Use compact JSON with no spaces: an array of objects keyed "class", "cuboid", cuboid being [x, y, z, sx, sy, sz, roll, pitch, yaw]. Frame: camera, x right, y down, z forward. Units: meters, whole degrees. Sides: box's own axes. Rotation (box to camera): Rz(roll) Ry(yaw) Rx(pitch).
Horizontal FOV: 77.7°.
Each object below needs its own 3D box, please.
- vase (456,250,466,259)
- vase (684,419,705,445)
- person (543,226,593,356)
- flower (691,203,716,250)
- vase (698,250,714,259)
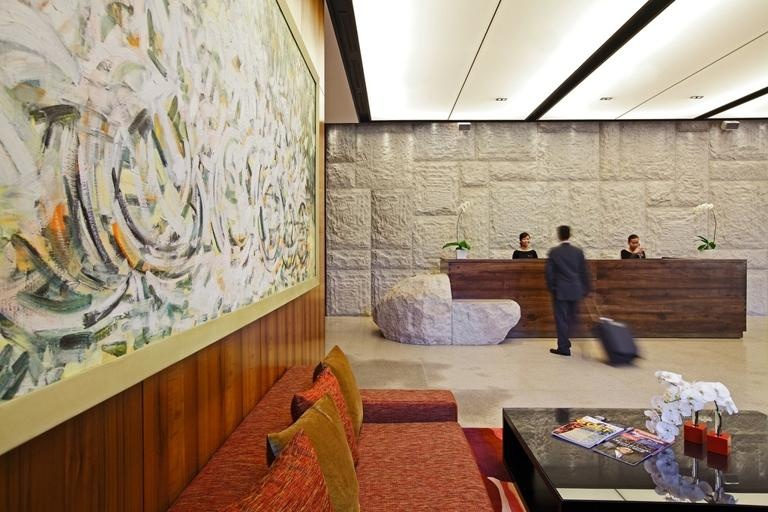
[{"class":"vase","cuboid":[1.082,-0.020,6.765,0.118,0.084,0.117,0,0,18]},{"class":"vase","cuboid":[1.650,0.943,2.540,0.133,0.121,0.071,-4,-3,39]},{"class":"person","cuboid":[2.242,0.397,5.722,0.455,1.483,0.816,3,4,41]},{"class":"flower","cuboid":[5.155,-0.473,7.654,0.333,0.812,1.110,2,3,34]},{"class":"vase","cuboid":[5.167,-0.026,7.664,0.163,0.095,0.163,-1,-1,23]}]
